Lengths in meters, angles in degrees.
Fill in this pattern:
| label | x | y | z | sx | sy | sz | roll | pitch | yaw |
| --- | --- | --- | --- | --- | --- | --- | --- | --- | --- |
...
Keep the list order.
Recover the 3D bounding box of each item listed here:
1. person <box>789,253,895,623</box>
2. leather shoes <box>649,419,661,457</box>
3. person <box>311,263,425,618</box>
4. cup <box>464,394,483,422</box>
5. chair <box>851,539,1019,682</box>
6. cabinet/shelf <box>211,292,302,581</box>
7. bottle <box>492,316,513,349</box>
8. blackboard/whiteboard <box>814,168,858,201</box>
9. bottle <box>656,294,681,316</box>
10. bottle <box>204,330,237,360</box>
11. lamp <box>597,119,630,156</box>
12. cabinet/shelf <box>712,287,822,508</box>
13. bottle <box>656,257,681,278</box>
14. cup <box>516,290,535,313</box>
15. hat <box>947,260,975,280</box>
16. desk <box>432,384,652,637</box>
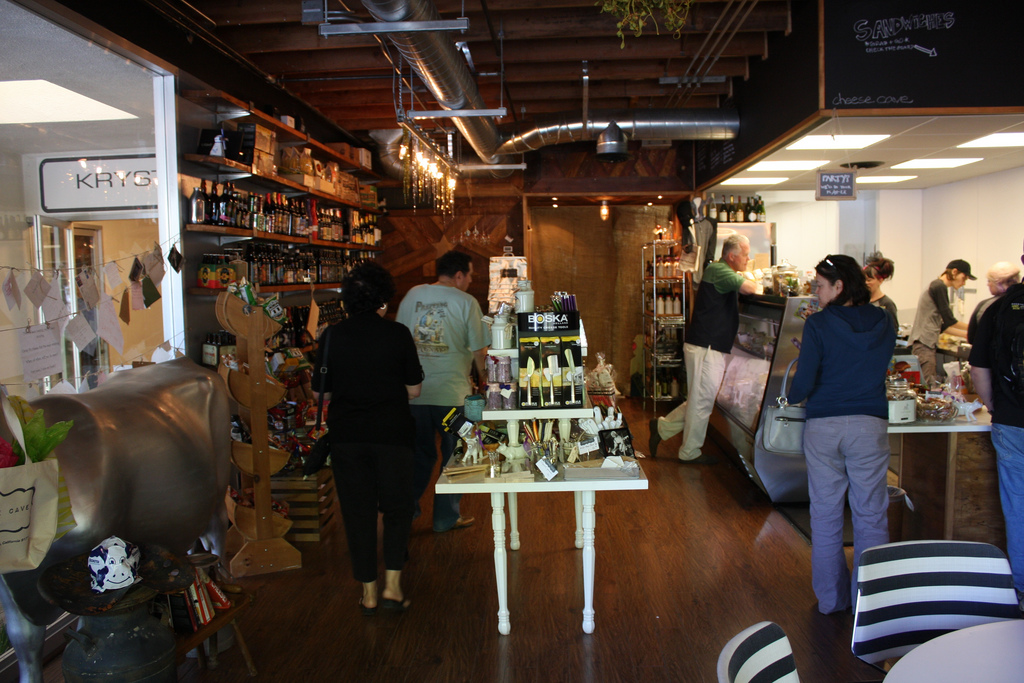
| label | x | y | z | sx | sy | sz | roll | pitch | yaw |
| --- | --- | --- | --- | --- | --- | --- | --- | --- | --- |
| person | 2.130 | 0.773 | 4.788 | 0.654 | 1.958 | 0.566 | 4 | 14 | 19 |
| leather shoes | 1.466 | 1.026 | 7.567 | 0.164 | 0.391 | 0.122 | -2 | 7 | 1 |
| person | -0.911 | 0.632 | 4.815 | 0.572 | 2.232 | 0.562 | 11 | 18 | 41 |
| cup | -0.237 | 0.443 | 4.774 | 0.142 | 0.152 | 0.146 | 0 | 0 | 0 |
| chair | 1.970 | 1.214 | 3.710 | 0.681 | 0.785 | 0.641 | -6 | -1 | 1 |
| cabinet/shelf | -1.911 | 0.652 | 5.384 | 0.508 | 1.987 | 0.776 | -5 | 14 | -18 |
| bottle | -0.075 | -0.046 | 4.980 | 0.147 | 0.193 | 0.195 | 0 | -1 | -3 |
| blackboard/whiteboard | 2.718 | -1.310 | 6.164 | 0.362 | 0.223 | 0.156 | -4 | 14 | -15 |
| bottle | 2.049 | -0.449 | 9.557 | 0.288 | 0.263 | 0.095 | 1 | -3 | 0 |
| bottle | -2.313 | 0.034 | 5.732 | 0.201 | 0.284 | 0.208 | -1 | 5 | 0 |
| lamp | 1.020 | -2.103 | 7.697 | 0.365 | 0.349 | 0.360 | 0 | -6 | -3 |
| cabinet/shelf | 2.139 | 0.460 | 6.119 | 0.726 | 1.681 | 1.912 | 0 | 3 | 4 |
| bottle | 2.029 | -0.921 | 9.552 | 0.319 | 0.317 | 0.232 | 0 | -2 | 3 |
| cup | 0.110 | -0.265 | 5.058 | 0.146 | 0.156 | 0.145 | -1 | -2 | 0 |
| hat | 4.625 | -0.731 | 7.505 | 0.310 | 0.184 | 0.223 | 5 | 2 | -2 |
| desk | 0.190 | 1.071 | 4.945 | 1.277 | 1.354 | 1.057 | 0 | 13 | 2 |
